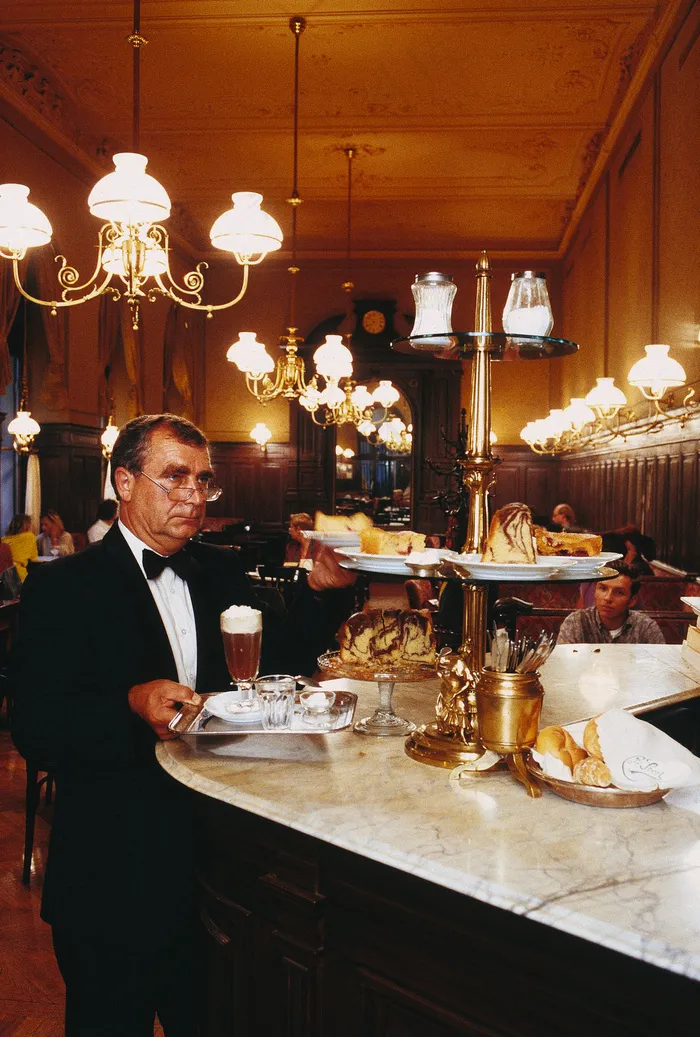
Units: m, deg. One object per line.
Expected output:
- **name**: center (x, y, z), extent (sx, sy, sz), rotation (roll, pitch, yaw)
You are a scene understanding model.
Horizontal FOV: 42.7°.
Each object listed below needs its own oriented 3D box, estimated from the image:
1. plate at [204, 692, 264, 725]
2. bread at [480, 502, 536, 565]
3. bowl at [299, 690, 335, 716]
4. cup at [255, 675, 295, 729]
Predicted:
- **plate**: center (-0.207, 0.330, 1.573), extent (0.098, 0.027, 0.172), rotation (4, 5, -9)
- **bread**: center (0.259, 0.025, 1.425), extent (0.091, 0.094, 0.091), rotation (3, -7, -21)
- **bowl**: center (-0.053, 0.318, 1.544), extent (0.041, 0.030, 0.043), rotation (0, -5, 0)
- **cup**: center (-0.118, 0.307, 1.486), extent (0.076, 0.082, 0.073), rotation (-1, -6, 0)
